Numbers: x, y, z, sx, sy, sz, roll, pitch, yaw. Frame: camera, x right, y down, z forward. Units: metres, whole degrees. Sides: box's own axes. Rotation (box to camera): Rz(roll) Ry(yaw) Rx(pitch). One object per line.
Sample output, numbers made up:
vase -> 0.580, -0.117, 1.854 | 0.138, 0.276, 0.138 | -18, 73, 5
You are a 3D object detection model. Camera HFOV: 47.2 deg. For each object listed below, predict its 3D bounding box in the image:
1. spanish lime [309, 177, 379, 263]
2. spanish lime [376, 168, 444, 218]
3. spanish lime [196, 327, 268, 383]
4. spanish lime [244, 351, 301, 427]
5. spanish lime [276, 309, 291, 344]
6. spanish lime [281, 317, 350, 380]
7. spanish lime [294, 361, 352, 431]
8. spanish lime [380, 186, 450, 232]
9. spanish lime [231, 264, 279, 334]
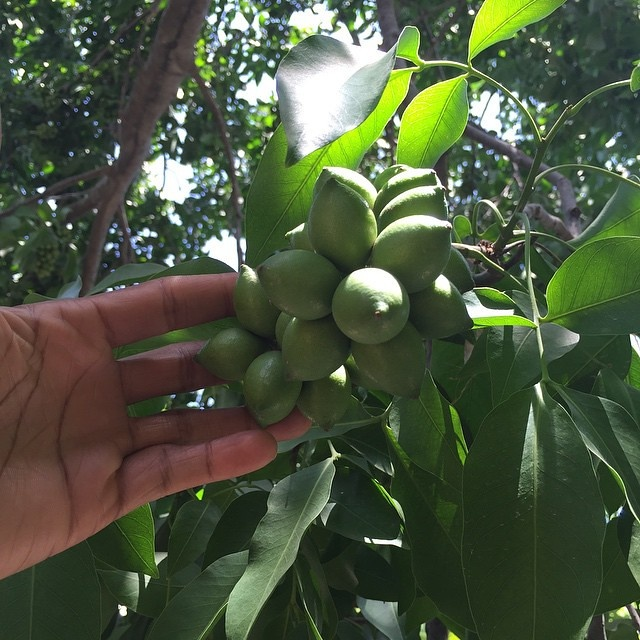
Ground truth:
spanish lime -> 0.041, -0.160, 1.268 | 0.122, 0.142, 0.080 | 7, -13, -1
spanish lime -> 0.168, -0.253, 1.384 | 0.099, 0.064, 0.119 | -6, 25, 33
spanish lime -> -0.165, 0.067, 1.415 | 0.136, 0.082, 0.075 | -8, -18, -6
spanish lime -> -0.089, 0.120, 1.389 | 0.109, 0.103, 0.129 | 18, -41, 10
spanish lime -> -0.071, 0.014, 1.361 | 0.036, 0.052, 0.043 | 13, -22, 2
spanish lime -> -0.012, 0.050, 1.311 | 0.100, 0.085, 0.122 | 9, 3, -22
spanish lime -> 0.013, 0.143, 1.387 | 0.080, 0.111, 0.095 | -9, -3, 40
spanish lime -> 0.185, -0.193, 1.333 | 0.115, 0.061, 0.070 | -24, 36, -14
spanish lime -> -0.129, -0.034, 1.438 | 0.088, 0.124, 0.085 | -20, -27, -17
